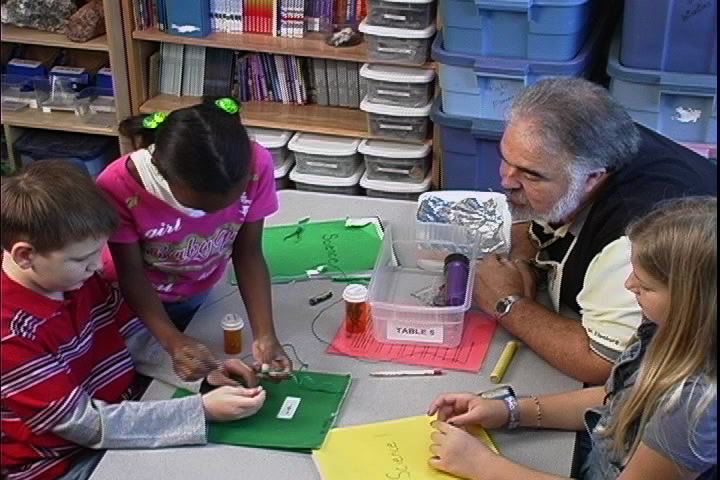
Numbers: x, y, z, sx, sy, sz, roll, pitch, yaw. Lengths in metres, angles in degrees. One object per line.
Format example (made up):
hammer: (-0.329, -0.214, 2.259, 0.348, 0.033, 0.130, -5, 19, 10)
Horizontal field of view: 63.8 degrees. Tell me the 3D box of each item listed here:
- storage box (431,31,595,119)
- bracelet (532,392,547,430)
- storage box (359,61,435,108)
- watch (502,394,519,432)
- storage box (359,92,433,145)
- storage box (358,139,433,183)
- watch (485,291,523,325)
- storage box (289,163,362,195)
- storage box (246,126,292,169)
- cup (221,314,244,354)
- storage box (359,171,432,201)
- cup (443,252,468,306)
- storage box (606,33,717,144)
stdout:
storage box: (0.628, -0.725, 2.577, 0.576, 0.213, 0.499, 7, 33, 18)
bracelet: (0.450, 0.432, 1.455, 0.021, 0.061, 0.044, -4, -15, 23)
storage box: (0.191, -0.822, 2.926, 0.293, 0.140, 0.235, 8, 32, 12)
watch: (0.382, 0.432, 1.452, 0.025, 0.066, 0.049, 1, -8, 1)
storage box: (0.182, -0.644, 3.003, 0.299, 0.141, 0.231, 6, 32, 9)
storage box: (0.187, -0.453, 3.097, 0.284, 0.143, 0.240, 4, 30, 10)
watch: (0.426, 0.197, 1.718, 0.088, 0.084, 0.054, -39, 70, -9)
storage box: (-0.194, -0.317, 3.190, 0.240, 0.083, 0.213, 8, 25, 17)
storage box: (-0.482, -0.514, 3.169, 0.270, 0.111, 0.203, 9, 30, 17)
cup: (-0.367, 0.272, 1.640, 0.074, 0.114, 0.075, 1, 31, 0)
storage box: (0.184, -0.282, 3.116, 0.220, 0.076, 0.202, 7, 28, 10)
cup: (0.288, 0.123, 1.740, 0.042, 0.041, 0.146, -9, 29, 10)
storage box: (1.391, -0.630, 2.677, 0.439, 0.286, 0.447, 11, 45, 15)
